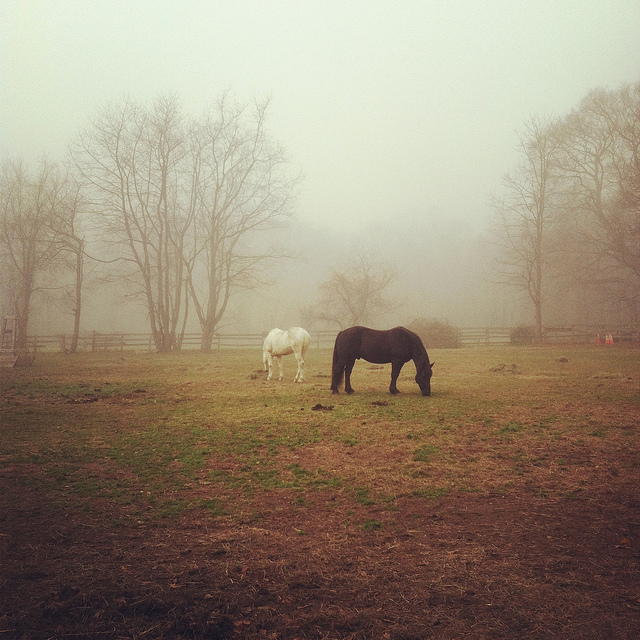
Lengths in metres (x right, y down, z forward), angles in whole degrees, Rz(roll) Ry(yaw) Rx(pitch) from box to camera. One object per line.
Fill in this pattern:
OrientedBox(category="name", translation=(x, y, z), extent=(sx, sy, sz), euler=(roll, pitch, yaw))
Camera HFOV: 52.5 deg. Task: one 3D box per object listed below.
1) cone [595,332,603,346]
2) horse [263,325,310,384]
OrientedBox(category="cone", translation=(18.123, 1.226, 41.933), extent=(0.481, 0.871, 0.528), euler=(-5, 2, -22))
OrientedBox(category="horse", translation=(-1.012, 0.925, 17.457), extent=(1.665, 1.632, 0.487), euler=(-4, -1, 36))
